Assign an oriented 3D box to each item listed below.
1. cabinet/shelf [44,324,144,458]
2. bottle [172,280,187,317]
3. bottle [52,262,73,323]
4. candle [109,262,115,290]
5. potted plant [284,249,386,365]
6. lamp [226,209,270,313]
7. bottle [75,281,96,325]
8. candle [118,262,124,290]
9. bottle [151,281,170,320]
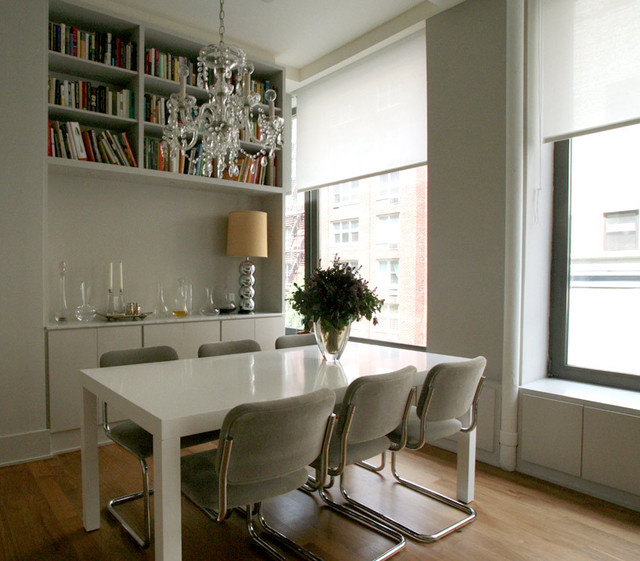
[{"bbox_3d":[-1.543,0.736,3.467,0.833,0.984,0.278,0,1,-38],"label":"cabinet/shelf"},{"bbox_3d":[-1.327,0.155,4.967,0.137,0.317,0.322,-1,6,-17],"label":"bottle"},{"bbox_3d":[-2.148,0.081,4.339,0.130,0.478,0.282,-3,6,-27],"label":"bottle"},{"bbox_3d":[-1.870,-0.055,4.687,0.048,0.235,0.059,2,6,21],"label":"candle"},{"bbox_3d":[0.121,0.151,3.529,0.551,0.701,0.619,-1,1,-3],"label":"potted plant"},{"bbox_3d":[-0.741,-0.214,5.320,0.419,1.020,0.534,0,6,-8],"label":"lamp"},{"bbox_3d":[-1.990,0.177,4.434,0.169,0.346,0.405,-2,6,-24],"label":"bottle"},{"bbox_3d":[-1.802,-0.050,4.728,0.036,0.235,0.078,-1,6,-14],"label":"candle"},{"bbox_3d":[-1.477,0.171,4.881,0.151,0.340,0.320,-1,6,-17],"label":"bottle"}]
